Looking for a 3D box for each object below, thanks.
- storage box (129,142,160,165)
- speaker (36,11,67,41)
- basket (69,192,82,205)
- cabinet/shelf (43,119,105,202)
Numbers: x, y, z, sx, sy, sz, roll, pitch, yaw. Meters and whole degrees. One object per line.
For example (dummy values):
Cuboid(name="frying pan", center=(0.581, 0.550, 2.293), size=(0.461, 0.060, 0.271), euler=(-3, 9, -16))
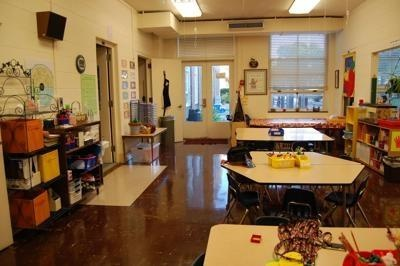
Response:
Cuboid(name="storage box", center=(-1.610, 0.587, 8.267), size=(0.507, 0.323, 0.758), euler=(0, 2, 6))
Cuboid(name="speaker", center=(-2.666, -1.921, 5.298), size=(0.290, 0.451, 0.442), euler=(1, 13, 10))
Cuboid(name="basket", center=(-2.258, 1.180, 5.349), size=(0.155, 0.190, 0.274), euler=(2, 4, 10))
Cuboid(name="cabinet/shelf", center=(-2.342, 0.498, 5.383), size=(0.441, 1.406, 1.505), euler=(-1, 5, 0))
